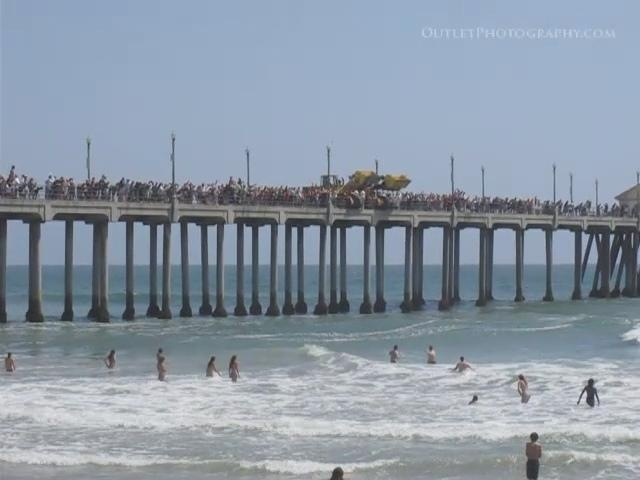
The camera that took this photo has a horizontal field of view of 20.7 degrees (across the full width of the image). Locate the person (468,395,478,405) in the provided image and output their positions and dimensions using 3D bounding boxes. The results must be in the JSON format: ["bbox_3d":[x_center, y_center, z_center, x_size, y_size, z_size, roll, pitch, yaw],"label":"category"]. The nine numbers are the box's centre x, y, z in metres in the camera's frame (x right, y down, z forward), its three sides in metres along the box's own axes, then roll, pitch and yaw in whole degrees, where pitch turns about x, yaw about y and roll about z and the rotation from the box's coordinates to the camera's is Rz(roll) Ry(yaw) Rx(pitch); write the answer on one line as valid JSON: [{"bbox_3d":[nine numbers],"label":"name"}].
[{"bbox_3d":[7.629,7.746,85.133,0.476,0.480,0.884,0,-5,11],"label":"person"}]

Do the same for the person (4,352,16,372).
[{"bbox_3d":[-15.660,6.221,89.004,0.574,1.033,2.736,1,-5,-10],"label":"person"}]

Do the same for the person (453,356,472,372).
[{"bbox_3d":[7.393,6.372,89.559,0.900,0.811,1.461,0,-5,5],"label":"person"}]

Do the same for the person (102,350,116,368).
[{"bbox_3d":[-10.503,6.169,89.588,0.604,1.047,0.301,8,-1,30],"label":"person"}]

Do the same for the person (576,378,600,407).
[{"bbox_3d":[13.237,7.446,85.069,1.022,1.349,2.898,0,-5,8],"label":"person"}]
